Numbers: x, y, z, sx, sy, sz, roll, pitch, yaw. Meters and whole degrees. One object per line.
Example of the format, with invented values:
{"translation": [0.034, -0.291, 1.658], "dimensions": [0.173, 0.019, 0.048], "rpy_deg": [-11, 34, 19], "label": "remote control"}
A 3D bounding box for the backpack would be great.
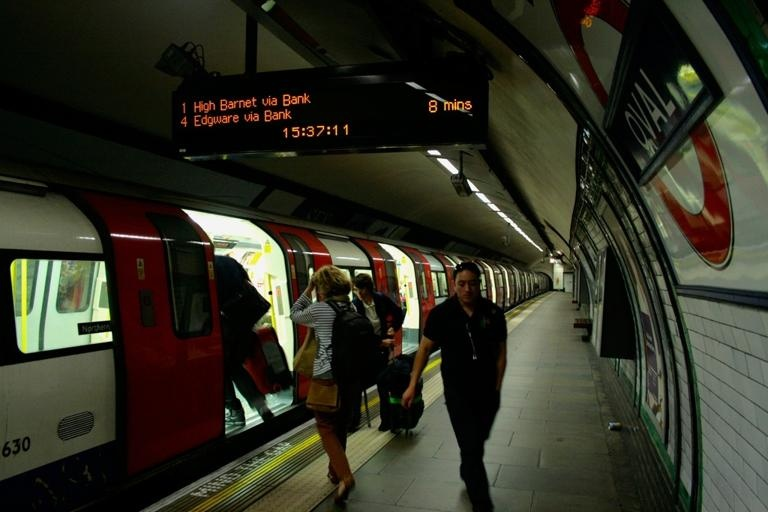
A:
{"translation": [-0.298, 0.818, 5.450], "dimensions": [0.335, 0.838, 0.395], "rpy_deg": [-14, -9, 40], "label": "backpack"}

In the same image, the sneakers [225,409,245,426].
{"translation": [-1.888, 2.038, 7.032], "dimensions": [0.326, 0.210, 0.138], "rpy_deg": [4, -4, 7], "label": "sneakers"}

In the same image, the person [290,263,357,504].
{"translation": [-0.493, 1.258, 5.578], "dimensions": [0.678, 2.340, 0.743], "rpy_deg": [5, -7, -39], "label": "person"}

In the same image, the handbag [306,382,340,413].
{"translation": [-0.576, 1.363, 5.381], "dimensions": [0.415, 0.389, 0.165], "rpy_deg": [0, -8, 7], "label": "handbag"}
